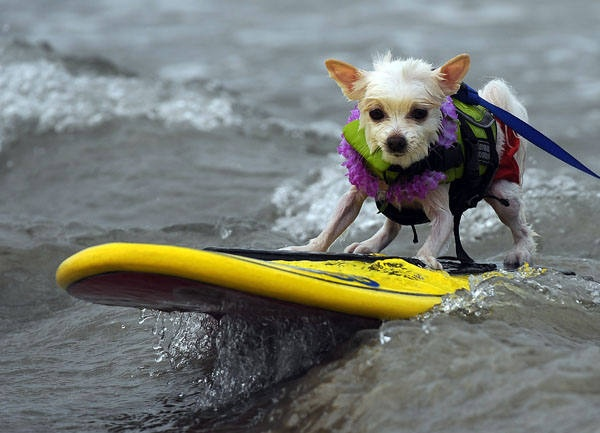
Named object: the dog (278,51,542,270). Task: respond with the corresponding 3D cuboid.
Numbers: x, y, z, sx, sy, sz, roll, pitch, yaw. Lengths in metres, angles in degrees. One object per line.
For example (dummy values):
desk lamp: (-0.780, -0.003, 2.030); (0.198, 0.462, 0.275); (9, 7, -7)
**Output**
dog: (0.935, -0.428, 7.252); (1.730, 1.560, 0.702); (2, 11, -30)
